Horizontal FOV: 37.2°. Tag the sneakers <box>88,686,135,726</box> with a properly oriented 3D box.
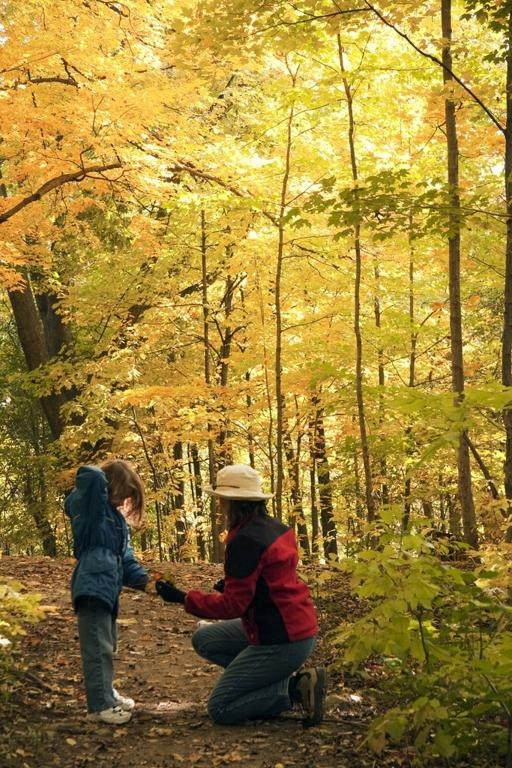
[{"bbox_3d":[-0.873,1.953,4.635,0.235,0.189,0.308,-9,-2,-4],"label":"sneakers"}]

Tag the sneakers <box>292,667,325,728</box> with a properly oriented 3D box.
[{"bbox_3d":[0.319,1.746,4.327,0.206,0.353,0.134,-7,1,-5],"label":"sneakers"}]

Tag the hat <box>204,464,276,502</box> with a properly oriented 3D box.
[{"bbox_3d":[-0.127,0.568,4.417,0.287,0.105,0.268,1,-6,42],"label":"hat"}]

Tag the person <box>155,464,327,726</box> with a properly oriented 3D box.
[{"bbox_3d":[-0.043,1.213,4.354,0.700,1.427,0.390,-11,-2,12],"label":"person"}]
